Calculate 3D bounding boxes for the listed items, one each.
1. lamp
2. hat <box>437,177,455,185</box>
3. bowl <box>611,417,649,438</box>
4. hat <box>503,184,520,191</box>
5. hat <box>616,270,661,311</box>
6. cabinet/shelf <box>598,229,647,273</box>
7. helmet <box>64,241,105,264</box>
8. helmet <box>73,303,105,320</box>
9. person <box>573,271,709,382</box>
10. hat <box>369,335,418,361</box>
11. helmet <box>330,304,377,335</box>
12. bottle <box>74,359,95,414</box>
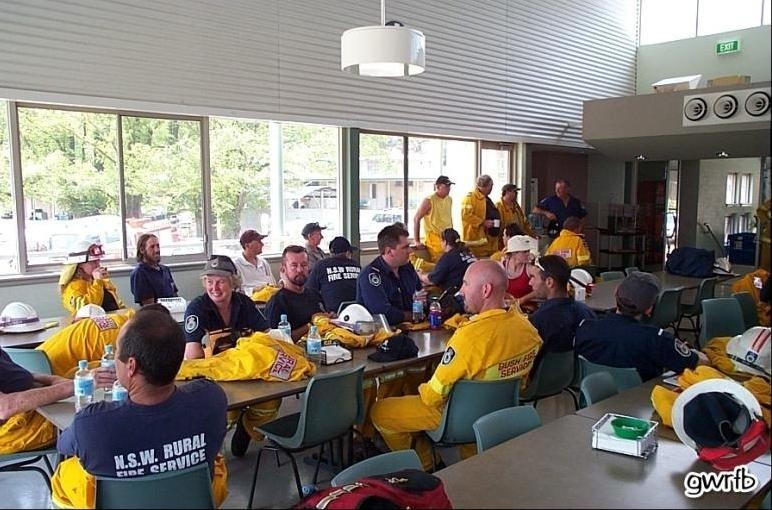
[{"bbox_3d":[-0.020,-1.707,4.553,0.586,0.602,0.577,0,5,-1],"label":"lamp"},{"bbox_3d":[0.965,-1.223,9.111,0.240,0.089,0.164,3,6,8],"label":"hat"},{"bbox_3d":[1.252,0.886,2.836,0.107,0.036,0.105,-2,15,1],"label":"bowl"},{"bbox_3d":[2.096,-1.103,9.118,0.262,0.096,0.177,0,6,-15],"label":"hat"},{"bbox_3d":[1.802,0.232,3.922,0.224,0.157,0.315,23,53,36],"label":"hat"},{"bbox_3d":[4.800,-0.026,11.274,0.825,0.938,1.038,-1,8,16],"label":"cabinet/shelf"},{"bbox_3d":[-3.044,-0.034,5.606,0.323,0.175,0.227,-2,9,-5],"label":"helmet"},{"bbox_3d":[-2.491,0.482,4.666,0.267,0.139,0.346,-1,-1,-33],"label":"helmet"},{"bbox_3d":[2.113,0.586,4.617,0.750,0.915,0.498,20,59,36],"label":"person"},{"bbox_3d":[0.061,0.680,4.006,0.286,0.104,0.174,-4,4,-24],"label":"hat"},{"bbox_3d":[-0.252,0.499,4.352,0.299,0.171,0.208,22,1,1],"label":"helmet"},{"bbox_3d":[-1.792,0.779,3.297,0.129,0.300,0.123,-3,-1,0],"label":"bottle"}]
